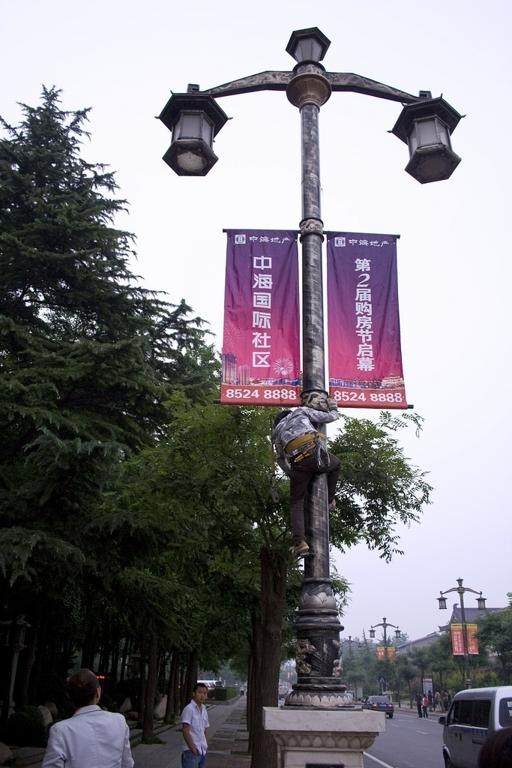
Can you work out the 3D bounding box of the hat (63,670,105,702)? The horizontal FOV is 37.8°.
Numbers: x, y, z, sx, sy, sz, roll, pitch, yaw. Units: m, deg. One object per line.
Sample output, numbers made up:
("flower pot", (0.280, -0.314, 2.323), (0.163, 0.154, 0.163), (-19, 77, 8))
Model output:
("hat", (-0.982, 1.738, 4.282), (0.226, 0.285, 0.234), (2, -17, -8))
